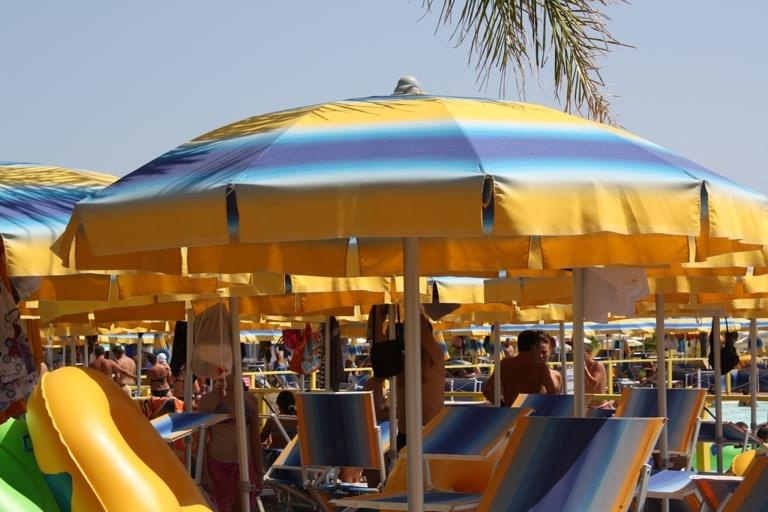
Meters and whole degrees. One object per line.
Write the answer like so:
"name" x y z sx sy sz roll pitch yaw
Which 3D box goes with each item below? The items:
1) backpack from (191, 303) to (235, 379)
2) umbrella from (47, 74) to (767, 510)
"backpack" -1.714 0.862 10.129 0.460 0.847 0.758 1 -5 -24
"umbrella" 0.272 -0.303 8.138 3.759 2.617 3.735 0 -3 2
